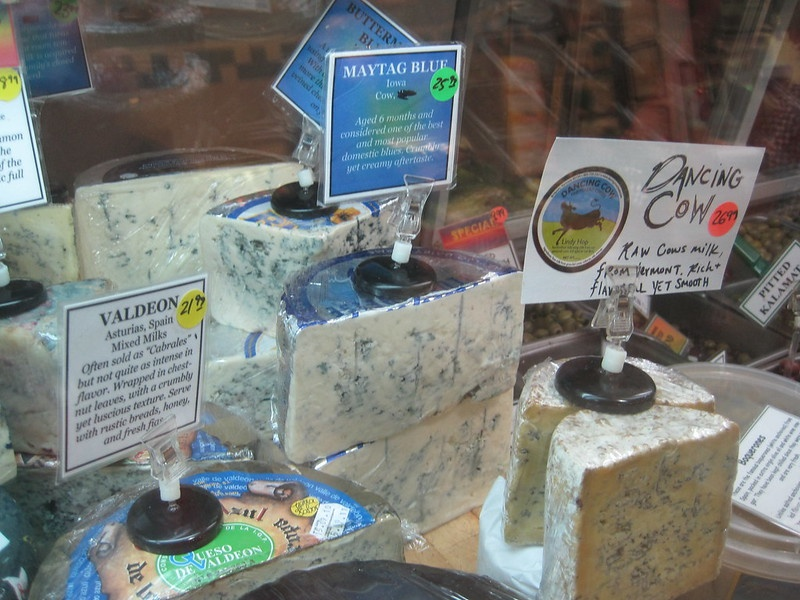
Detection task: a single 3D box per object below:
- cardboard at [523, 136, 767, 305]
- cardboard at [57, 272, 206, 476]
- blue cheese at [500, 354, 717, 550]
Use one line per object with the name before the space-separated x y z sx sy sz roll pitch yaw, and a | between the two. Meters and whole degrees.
cardboard | 0.567 -0.189 1.564 0.619 0.407 0.122 -14 33 -21
cardboard | -0.508 0.139 1.277 0.335 0.342 0.028 -19 36 -28
blue cheese | 0.391 0.310 1.459 0.378 0.418 0.332 -3 15 -25
